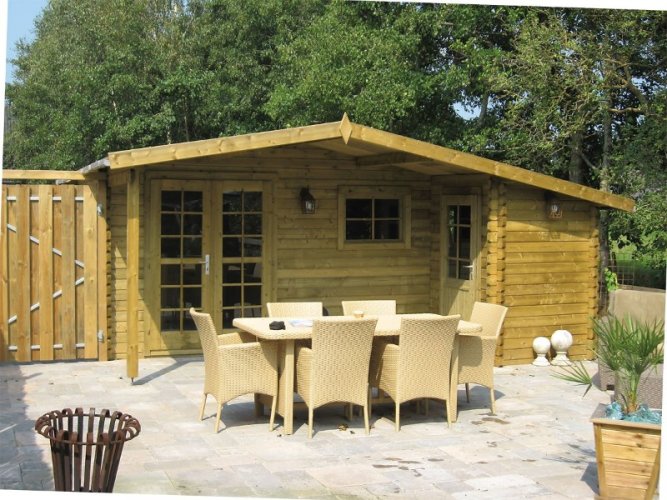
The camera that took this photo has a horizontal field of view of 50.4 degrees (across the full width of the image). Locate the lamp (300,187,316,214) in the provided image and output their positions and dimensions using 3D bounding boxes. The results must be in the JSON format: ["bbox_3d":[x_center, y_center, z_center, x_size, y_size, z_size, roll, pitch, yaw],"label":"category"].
[{"bbox_3d":[-0.418,-0.832,11.794,0.266,0.446,0.294,1,8,-3],"label":"lamp"}]
